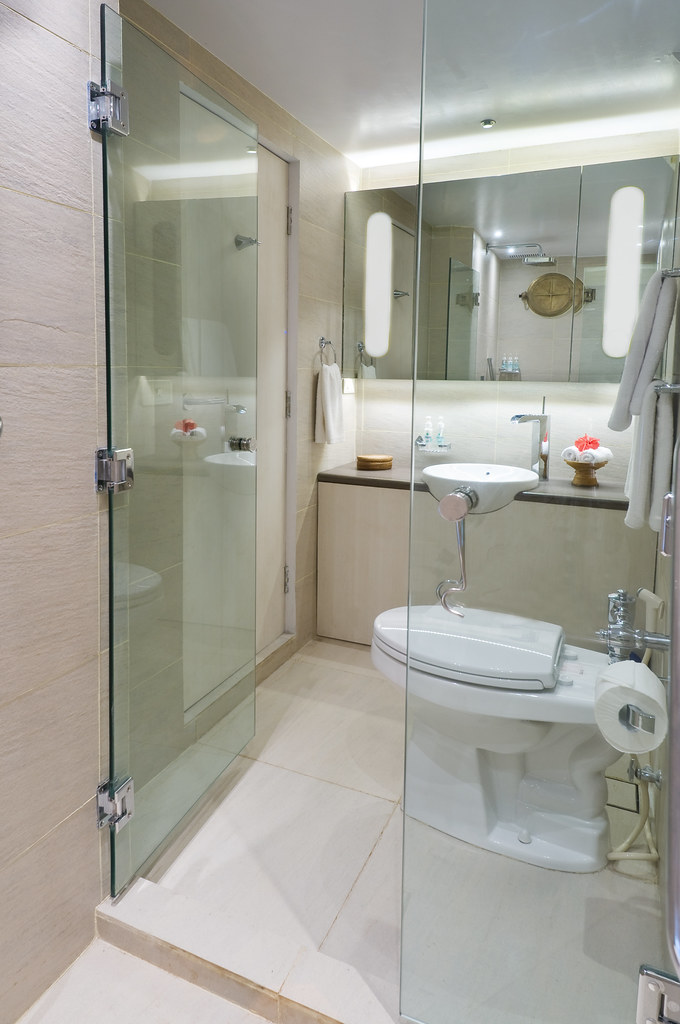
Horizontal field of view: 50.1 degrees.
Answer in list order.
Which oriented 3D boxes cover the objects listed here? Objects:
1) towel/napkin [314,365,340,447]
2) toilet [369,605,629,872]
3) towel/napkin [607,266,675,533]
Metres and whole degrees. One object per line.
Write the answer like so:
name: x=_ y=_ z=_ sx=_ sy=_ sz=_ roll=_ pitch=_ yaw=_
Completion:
towel/napkin: x=-0.052 y=-0.472 z=3.204 sx=0.091 sy=0.335 sz=0.142 roll=5 pitch=9 yaw=27
toilet: x=0.282 y=0.319 z=1.241 sx=0.363 sy=0.424 sz=0.238 roll=3 pitch=13 yaw=26
towel/napkin: x=0.407 y=-0.144 z=0.974 sx=0.026 sy=0.336 sz=0.077 roll=-7 pitch=11 yaw=-42
